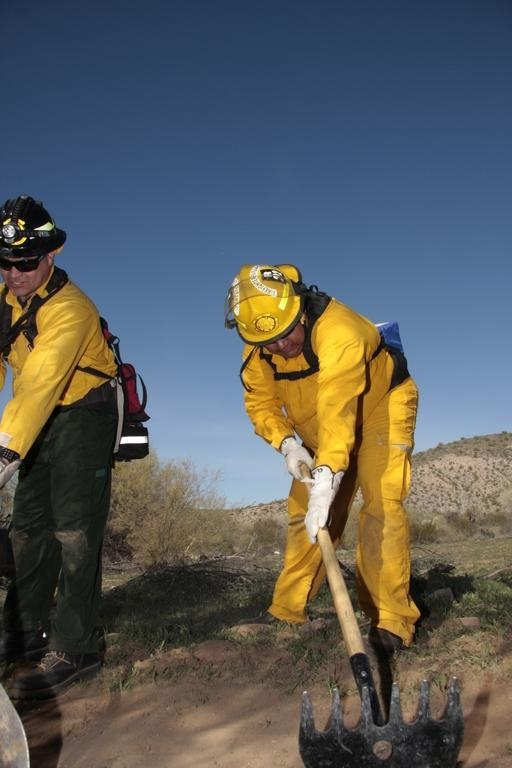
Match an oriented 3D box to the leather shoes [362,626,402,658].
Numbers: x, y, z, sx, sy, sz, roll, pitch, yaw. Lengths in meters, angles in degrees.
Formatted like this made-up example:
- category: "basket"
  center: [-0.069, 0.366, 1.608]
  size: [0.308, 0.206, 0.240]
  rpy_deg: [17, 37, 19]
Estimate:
- category: "leather shoes"
  center: [0.699, 1.384, 3.302]
  size: [0.178, 0.102, 0.292]
  rpy_deg: [-10, -10, 7]
